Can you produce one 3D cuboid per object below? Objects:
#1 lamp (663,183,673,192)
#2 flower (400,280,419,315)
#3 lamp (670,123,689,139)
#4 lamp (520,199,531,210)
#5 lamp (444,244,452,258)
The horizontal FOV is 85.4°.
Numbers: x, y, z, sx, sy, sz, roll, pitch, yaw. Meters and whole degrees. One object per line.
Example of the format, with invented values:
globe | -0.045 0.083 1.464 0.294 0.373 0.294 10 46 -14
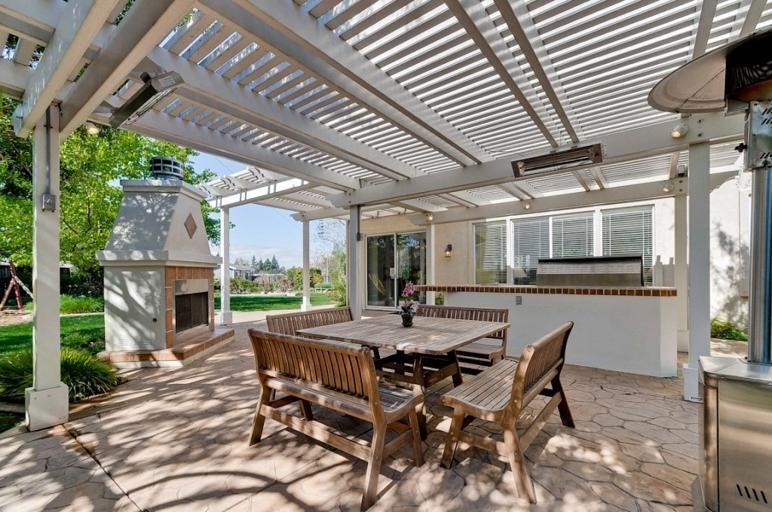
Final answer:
lamp | 5.033 -1.201 7.467 0.130 0.123 0.251 7 13 33
flower | 0.288 0.617 5.480 0.252 0.448 0.245 -4 -7 17
lamp | 3.754 -1.577 5.367 0.148 0.173 0.182 -13 -14 34
lamp | 3.085 -1.107 9.177 0.065 0.200 0.222 -7 13 -31
lamp | 1.630 -0.114 10.914 0.207 0.365 0.136 3 12 16
